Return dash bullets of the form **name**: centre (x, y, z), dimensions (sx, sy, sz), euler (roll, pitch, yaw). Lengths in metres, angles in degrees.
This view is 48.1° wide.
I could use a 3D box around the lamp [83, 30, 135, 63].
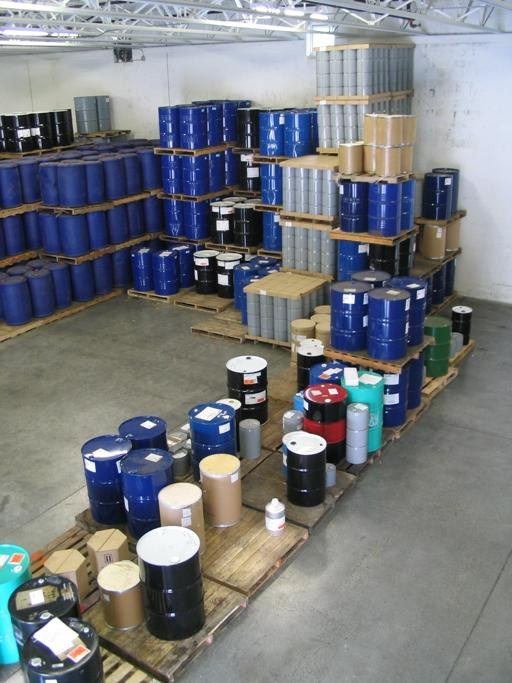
- **lamp**: centre (-2.862, -5.924, 11.660), dimensions (0.724, 0.320, 1.844), euler (-6, 19, -10)
